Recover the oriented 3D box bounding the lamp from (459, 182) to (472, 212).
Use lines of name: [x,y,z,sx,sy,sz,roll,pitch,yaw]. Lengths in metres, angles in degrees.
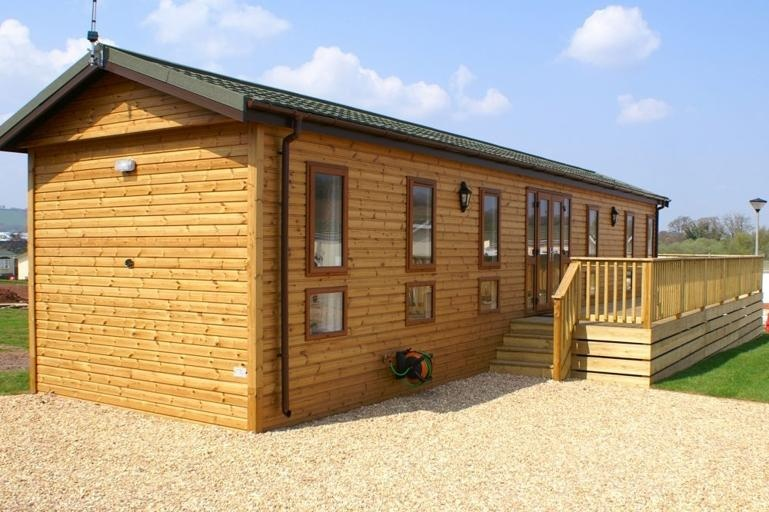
lamp: [1.781,-1.264,12.920,0.196,0.671,0.434,4,10,31]
